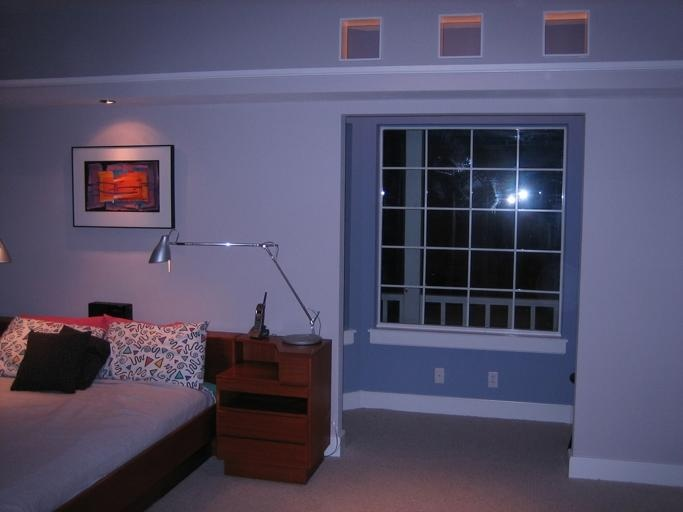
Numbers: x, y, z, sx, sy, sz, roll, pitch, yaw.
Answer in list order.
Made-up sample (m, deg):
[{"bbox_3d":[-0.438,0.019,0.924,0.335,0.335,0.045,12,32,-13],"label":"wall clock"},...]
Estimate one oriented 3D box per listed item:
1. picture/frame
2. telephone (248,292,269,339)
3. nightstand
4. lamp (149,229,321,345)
[{"bbox_3d":[-1.824,-0.606,4.689,0.704,0.529,0.030,1,5,11],"label":"picture/frame"},{"bbox_3d":[-0.643,0.477,4.411,0.144,0.334,0.319,1,9,5],"label":"telephone"},{"bbox_3d":[-0.527,1.179,4.297,0.724,0.985,0.536,2,1,12],"label":"nightstand"},{"bbox_3d":[-0.833,0.278,4.437,1.347,0.925,0.312,0,3,-9],"label":"lamp"}]
